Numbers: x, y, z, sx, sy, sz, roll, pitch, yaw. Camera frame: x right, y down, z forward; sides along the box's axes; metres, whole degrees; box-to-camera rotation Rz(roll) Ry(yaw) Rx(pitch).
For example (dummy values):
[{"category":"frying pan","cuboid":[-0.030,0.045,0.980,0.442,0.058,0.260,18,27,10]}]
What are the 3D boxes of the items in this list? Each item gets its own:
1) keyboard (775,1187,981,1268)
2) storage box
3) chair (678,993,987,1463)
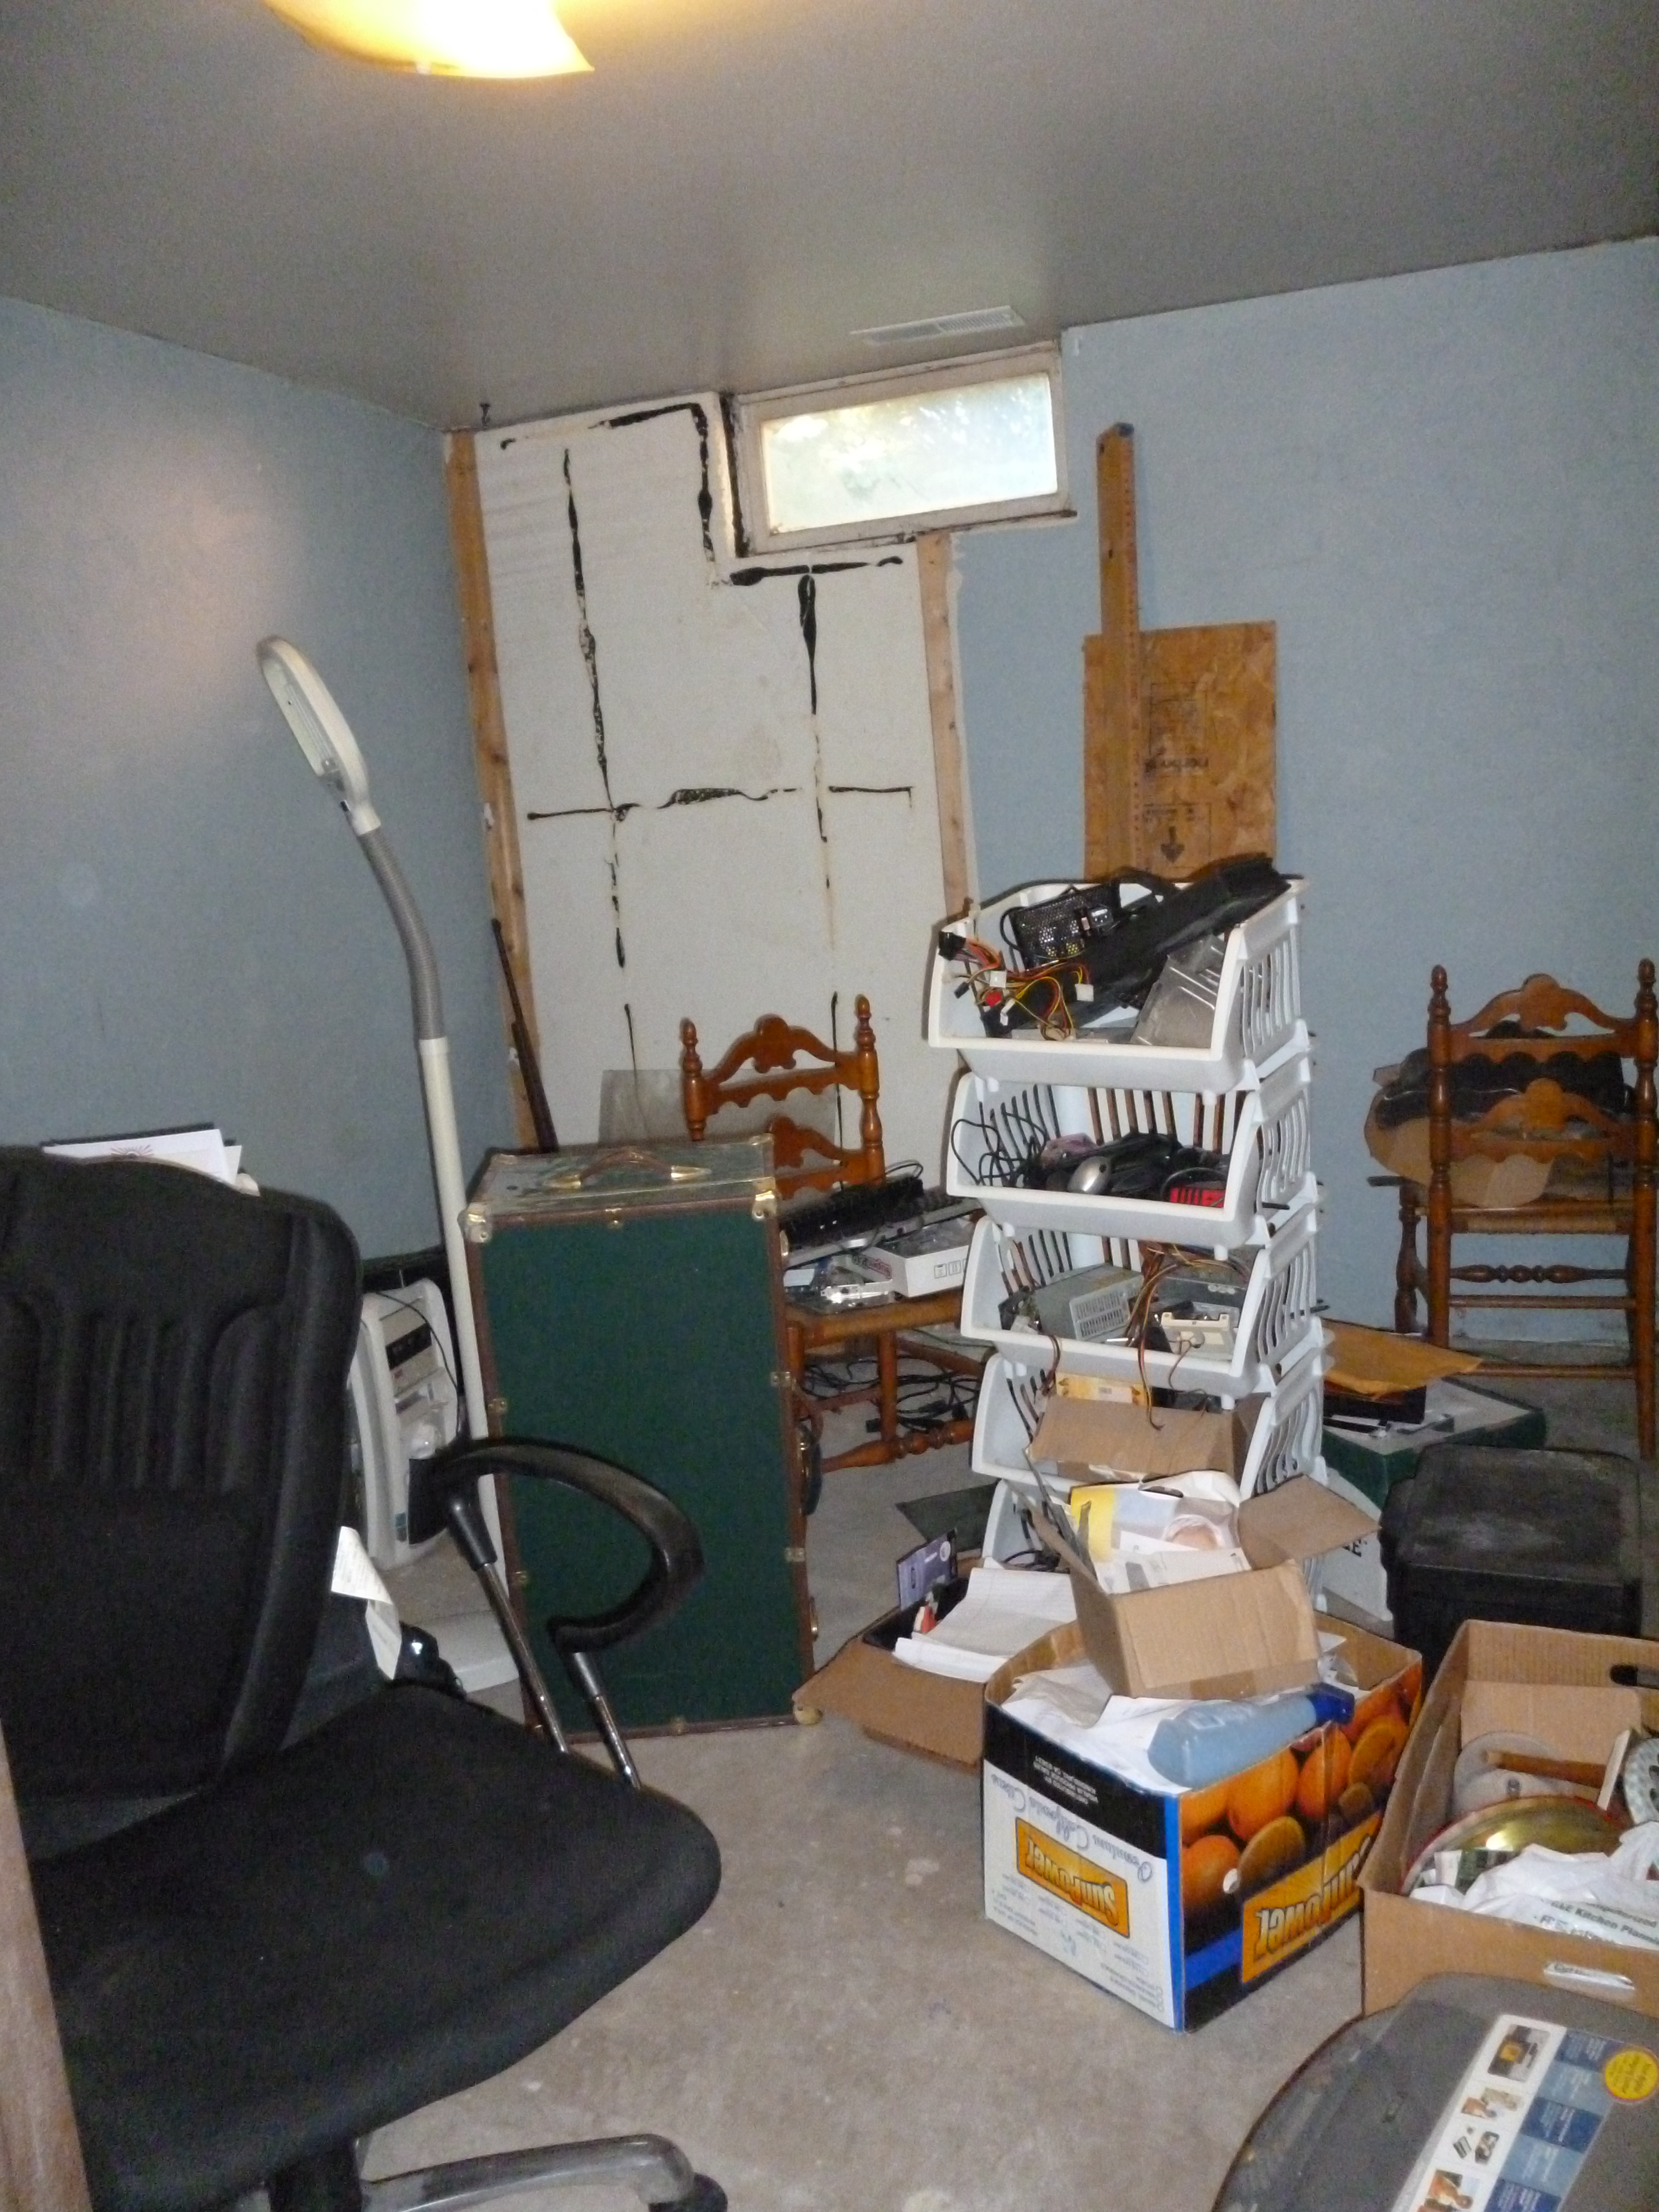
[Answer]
[{"category":"keyboard","cuboid":[0.069,0.233,3.570,0.312,0.069,0.155,-19,17,-26]},{"category":"storage box","cuboid":[0.412,0.844,2.704,0.819,0.263,0.782,4,6,41]},{"category":"chair","cuboid":[-0.152,0.325,3.828,0.632,0.997,0.648,-17,9,-42]}]
